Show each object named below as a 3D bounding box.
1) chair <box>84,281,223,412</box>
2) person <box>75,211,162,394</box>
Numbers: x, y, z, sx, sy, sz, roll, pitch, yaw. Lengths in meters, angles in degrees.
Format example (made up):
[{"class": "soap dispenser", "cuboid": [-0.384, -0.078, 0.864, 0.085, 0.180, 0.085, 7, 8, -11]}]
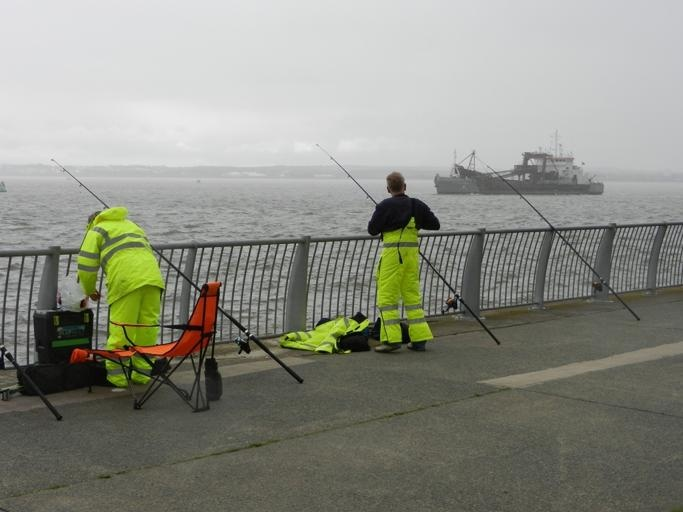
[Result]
[{"class": "chair", "cuboid": [-1.559, 0.774, 6.490, 1.033, 1.251, 1.021, 7, 11, -42]}, {"class": "person", "cuboid": [-2.143, 0.400, 6.946, 0.974, 1.737, 0.842, -2, -1, 22]}]
